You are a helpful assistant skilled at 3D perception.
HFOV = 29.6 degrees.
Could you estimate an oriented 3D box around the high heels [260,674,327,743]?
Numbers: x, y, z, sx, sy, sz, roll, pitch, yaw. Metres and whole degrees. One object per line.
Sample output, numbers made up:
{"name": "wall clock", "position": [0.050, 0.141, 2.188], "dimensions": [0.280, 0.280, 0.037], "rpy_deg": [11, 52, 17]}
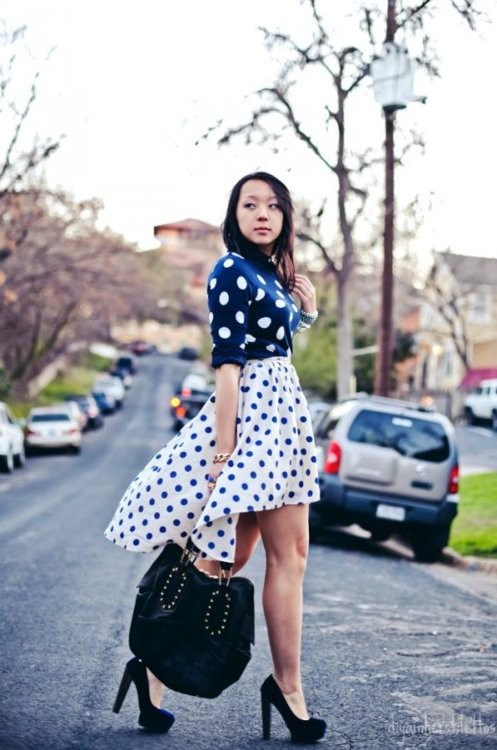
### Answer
{"name": "high heels", "position": [0.145, 1.162, 3.236], "dimensions": [0.249, 0.198, 0.119], "rpy_deg": [6, 2, 36]}

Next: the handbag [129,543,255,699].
{"name": "handbag", "position": [-0.184, 0.805, 3.114], "dimensions": [0.402, 0.389, 0.193], "rpy_deg": [5, 2, 0]}

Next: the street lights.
{"name": "street lights", "position": [1.680, -2.274, 11.150], "dimensions": [0.415, 4.566, 0.208], "rpy_deg": [1, -1, -25]}
